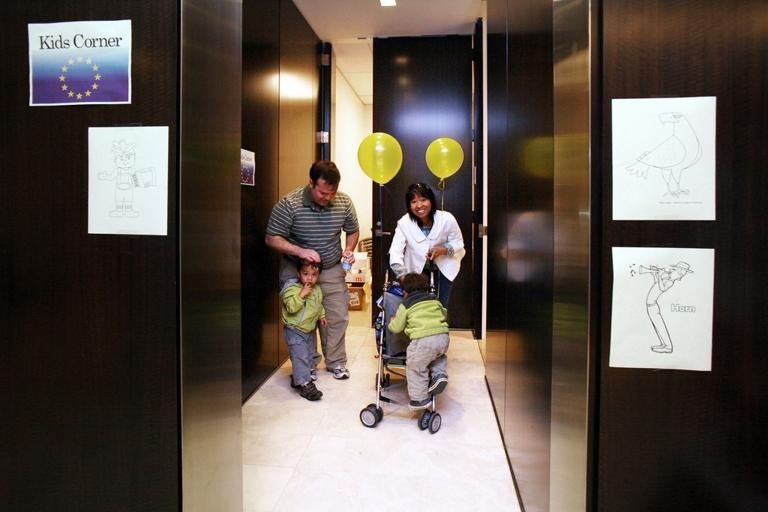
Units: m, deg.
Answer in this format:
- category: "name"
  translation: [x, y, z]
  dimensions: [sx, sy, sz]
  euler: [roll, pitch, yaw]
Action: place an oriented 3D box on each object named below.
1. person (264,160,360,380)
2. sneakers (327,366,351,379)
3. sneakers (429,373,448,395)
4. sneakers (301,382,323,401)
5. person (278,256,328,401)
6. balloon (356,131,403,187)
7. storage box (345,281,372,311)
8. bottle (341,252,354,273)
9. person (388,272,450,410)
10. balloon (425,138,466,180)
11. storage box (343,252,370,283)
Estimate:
- category: "person"
  translation: [-0.492, 0.120, 4.087]
  dimensions: [0.636, 1.664, 0.553]
  euler: [-2, 10, -12]
- category: "sneakers"
  translation: [-0.352, 0.889, 4.223]
  dimensions: [0.180, 0.081, 0.074]
  euler: [6, 6, 18]
- category: "sneakers"
  translation: [0.325, 0.785, 3.368]
  dimensions: [0.104, 0.129, 0.114]
  euler: [1, 10, 5]
- category: "sneakers"
  translation: [-0.506, 0.923, 3.802]
  dimensions: [0.177, 0.102, 0.088]
  euler: [9, 13, 41]
- category: "person"
  translation: [-0.533, 0.496, 3.927]
  dimensions: [0.320, 0.899, 0.519]
  euler: [-3, 10, -19]
- category: "balloon"
  translation: [-0.035, -0.837, 4.731]
  dimensions: [0.399, 0.606, 0.383]
  euler: [-1, -3, -2]
- category: "storage box"
  translation: [-0.301, 0.477, 6.450]
  dimensions: [0.318, 0.325, 0.473]
  euler: [1, 3, 8]
- category: "bottle"
  translation: [-0.260, 0.034, 4.065]
  dimensions: [0.075, 0.130, 0.132]
  euler: [3, 16, -5]
- category: "person"
  translation: [0.221, 0.537, 3.487]
  dimensions: [0.392, 0.811, 0.369]
  euler: [3, 10, 15]
- category: "balloon"
  translation: [0.508, -0.777, 4.706]
  dimensions: [0.328, 0.496, 0.331]
  euler: [4, -22, 4]
- category: "storage box"
  translation: [-0.257, 0.139, 5.804]
  dimensions: [0.339, 0.398, 0.280]
  euler: [0, -5, 0]
